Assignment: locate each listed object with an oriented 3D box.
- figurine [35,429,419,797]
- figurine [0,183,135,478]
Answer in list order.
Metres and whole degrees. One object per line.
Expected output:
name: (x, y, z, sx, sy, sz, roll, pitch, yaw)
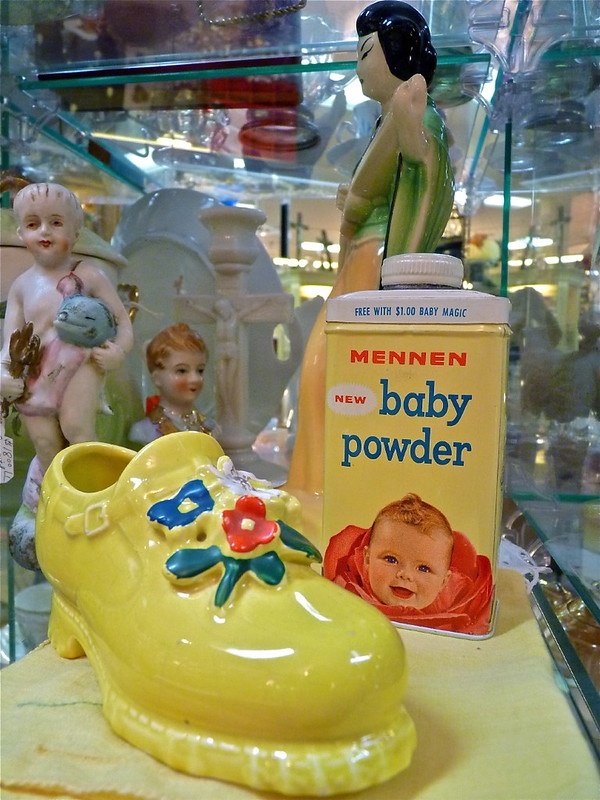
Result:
figurine: (-0.063, 0.124, 0.517, 0.152, 0.138, 0.285, -3, 7, -45)
figurine: (-0.295, -0.082, 0.875, 0.135, 0.352, 0.093, -1, 2, -22)
